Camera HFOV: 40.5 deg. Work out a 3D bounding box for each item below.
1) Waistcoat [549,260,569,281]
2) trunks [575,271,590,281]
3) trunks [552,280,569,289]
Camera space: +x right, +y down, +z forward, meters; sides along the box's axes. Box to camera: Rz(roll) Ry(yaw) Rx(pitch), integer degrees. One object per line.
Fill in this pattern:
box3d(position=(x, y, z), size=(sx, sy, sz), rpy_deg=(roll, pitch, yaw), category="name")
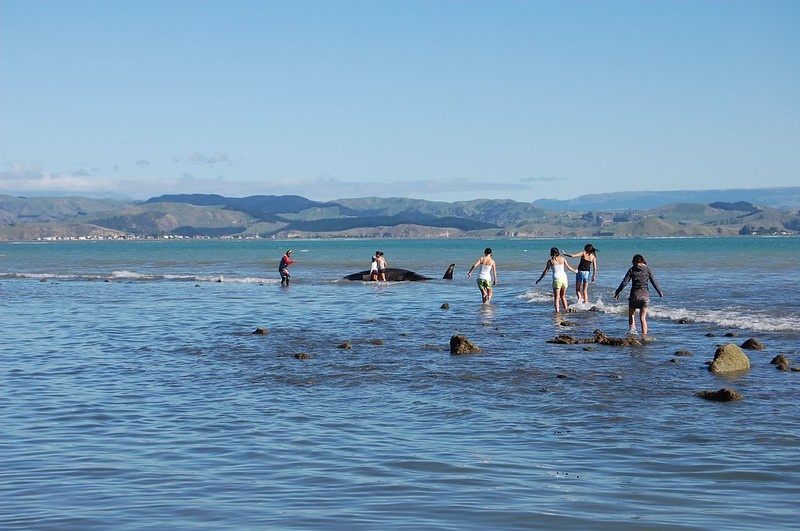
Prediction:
box3d(position=(6.279, 0.176, 42.354), size=(0.562, 0.807, 1.094), rpy_deg=(2, 7, 10), category="Waistcoat")
box3d(position=(7.386, 0.419, 43.956), size=(0.799, 0.406, 0.410), rpy_deg=(3, 11, 22), category="trunks")
box3d(position=(6.268, 0.689, 42.131), size=(0.414, 0.311, 0.505), rpy_deg=(-4, 5, -13), category="trunks")
